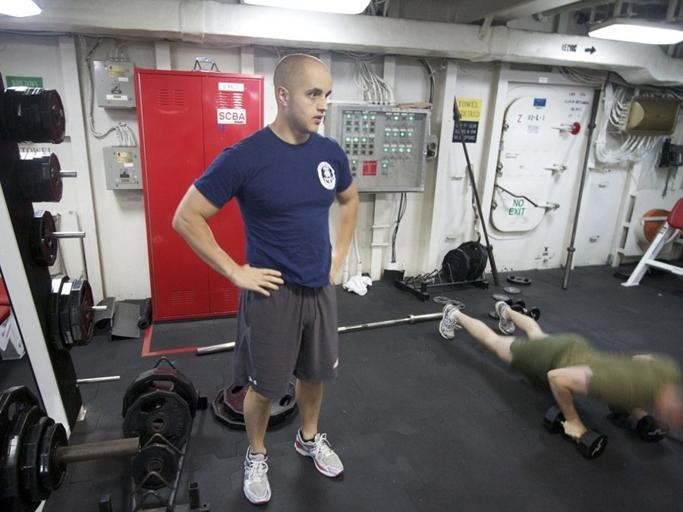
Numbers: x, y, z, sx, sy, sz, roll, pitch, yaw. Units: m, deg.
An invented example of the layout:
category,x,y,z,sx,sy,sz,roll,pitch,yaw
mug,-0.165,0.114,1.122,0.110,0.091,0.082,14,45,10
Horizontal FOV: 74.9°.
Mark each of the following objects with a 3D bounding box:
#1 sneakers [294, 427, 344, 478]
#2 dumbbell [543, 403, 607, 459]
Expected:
category,x,y,z,sx,sy,sz,roll,pitch,yaw
sneakers,-0.143,1.250,2.967,0.393,0.187,0.168,27,26,34
dumbbell,1.648,1.234,3.127,0.153,0.201,0.361,29,8,-19
